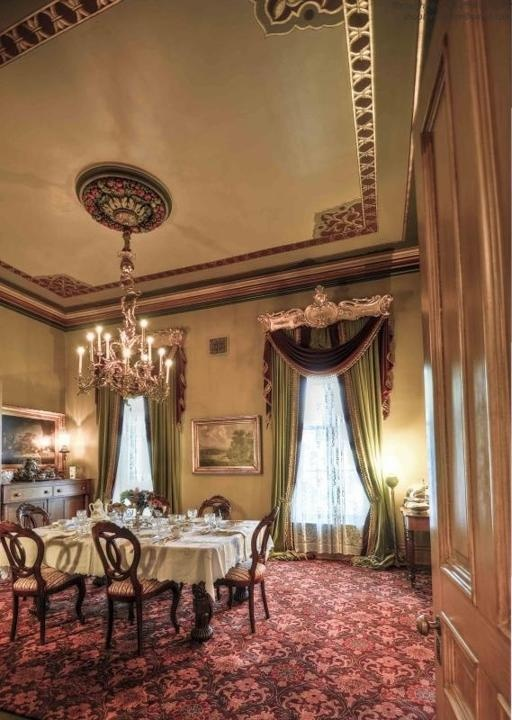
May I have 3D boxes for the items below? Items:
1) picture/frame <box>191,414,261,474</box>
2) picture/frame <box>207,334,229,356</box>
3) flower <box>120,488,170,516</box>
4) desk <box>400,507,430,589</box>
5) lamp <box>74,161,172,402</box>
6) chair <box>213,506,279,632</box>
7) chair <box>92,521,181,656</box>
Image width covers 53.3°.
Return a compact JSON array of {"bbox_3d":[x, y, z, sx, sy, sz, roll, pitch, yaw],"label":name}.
[{"bbox_3d":[-0.383,1.205,7.213,0.800,0.636,0.066,-2,-9,20],"label":"picture/frame"},{"bbox_3d":[-0.552,-0.219,7.534,0.300,0.297,0.041,-2,-7,29],"label":"picture/frame"},{"bbox_3d":[-1.117,1.394,5.034,0.436,0.277,0.504,0,-8,-14],"label":"flower"},{"bbox_3d":[1.818,2.002,5.397,0.464,0.683,0.714,3,-16,21],"label":"desk"},{"bbox_3d":[-1.202,-0.668,4.714,0.838,1.970,0.856,-16,-18,40],"label":"lamp"},{"bbox_3d":[-0.090,1.780,4.483,0.453,0.959,0.496,2,-4,17],"label":"chair"},{"bbox_3d":[-0.951,1.734,4.093,0.667,0.960,0.780,0,-7,-10],"label":"chair"}]
